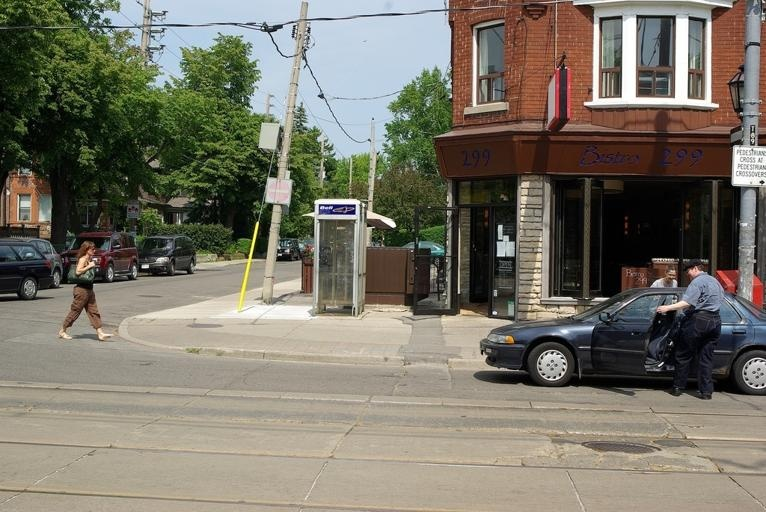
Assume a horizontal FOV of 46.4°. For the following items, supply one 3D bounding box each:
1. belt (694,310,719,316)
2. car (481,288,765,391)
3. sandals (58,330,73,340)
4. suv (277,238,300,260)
[{"bbox_3d":[6.051,1.068,16.669,0.452,0.113,0.117,0,1,-10],"label":"belt"},{"bbox_3d":[4.790,1.671,17.859,5.172,1.426,2.143,2,-2,7],"label":"car"},{"bbox_3d":[-7.433,1.841,20.910,0.501,0.195,0.171,2,3,31],"label":"sandals"},{"bbox_3d":[-6.919,-0.509,66.480,1.775,1.419,3.664,0,-2,3],"label":"suv"}]
